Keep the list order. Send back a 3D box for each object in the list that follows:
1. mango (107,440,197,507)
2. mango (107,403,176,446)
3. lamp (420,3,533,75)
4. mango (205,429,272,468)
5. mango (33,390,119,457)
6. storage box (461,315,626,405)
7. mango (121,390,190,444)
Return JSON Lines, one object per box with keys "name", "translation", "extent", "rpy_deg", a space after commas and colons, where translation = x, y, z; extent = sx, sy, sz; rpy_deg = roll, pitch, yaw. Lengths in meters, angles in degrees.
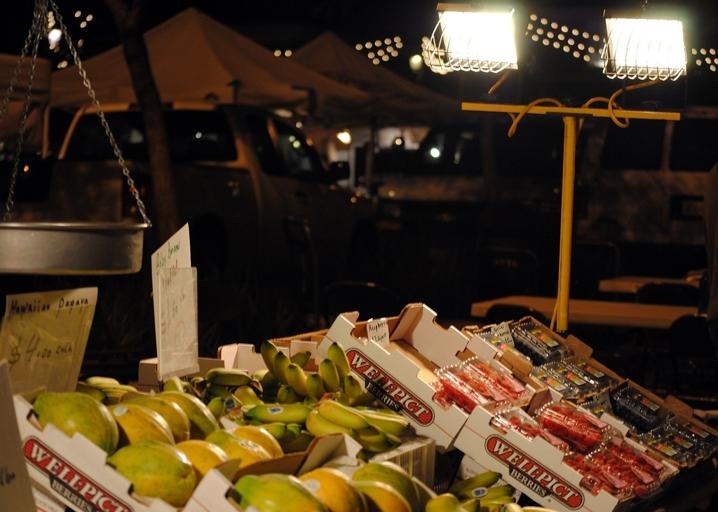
{"name": "mango", "translation": [-0.593, 0.620, 1.954], "extent": [0.244, 0.161, 0.111], "rpy_deg": [2, 7, 13]}
{"name": "mango", "translation": [-0.654, 0.509, 2.098], "extent": [0.168, 0.106, 0.116], "rpy_deg": [40, 36, 2]}
{"name": "lamp", "translation": [0.570, -1.020, 3.401], "extent": [0.440, 0.368, 0.392], "rpy_deg": [2, 6, 2]}
{"name": "mango", "translation": [-0.368, 0.556, 2.097], "extent": [0.125, 0.101, 0.137], "rpy_deg": [0, 6, 31]}
{"name": "mango", "translation": [-0.856, 0.463, 2.097], "extent": [0.187, 0.194, 0.258], "rpy_deg": [-6, 4, 2]}
{"name": "storage box", "translation": [0.866, 0.451, 3.121], "extent": [0.532, 0.406, 0.454], "rpy_deg": [0, 7, 13]}
{"name": "mango", "translation": [-0.620, 0.499, 2.246], "extent": [0.162, 0.149, 0.233], "rpy_deg": [-5, 7, 25]}
